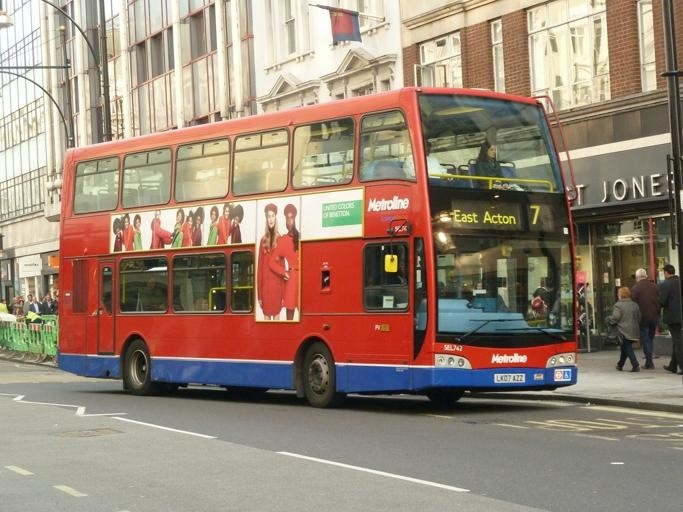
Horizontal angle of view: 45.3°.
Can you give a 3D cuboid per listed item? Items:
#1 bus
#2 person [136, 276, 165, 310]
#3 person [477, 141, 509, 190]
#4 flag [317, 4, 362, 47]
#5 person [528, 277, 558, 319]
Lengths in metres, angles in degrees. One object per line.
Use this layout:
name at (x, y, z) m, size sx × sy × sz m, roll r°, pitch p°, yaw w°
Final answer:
bus at (-1.419, 0.111, 18.169) m, size 4.770 × 6.203 × 12.866 m, roll 3°, pitch -5°, yaw -42°
person at (-4.135, 0.825, 17.800) m, size 0.677 × 0.716 × 0.169 m, roll 0°, pitch -2°, yaw 42°
person at (2.449, -1.541, 13.744) m, size 0.581 × 0.863 × 0.326 m, roll -4°, pitch 2°, yaw -33°
flag at (-0.037, -8.436, 29.793) m, size 2.048 × 1.662 × 0.301 m, roll 1°, pitch -2°, yaw -26°
person at (3.414, 0.751, 14.005) m, size 0.423 × 0.767 × 0.170 m, roll 16°, pitch -10°, yaw -38°
